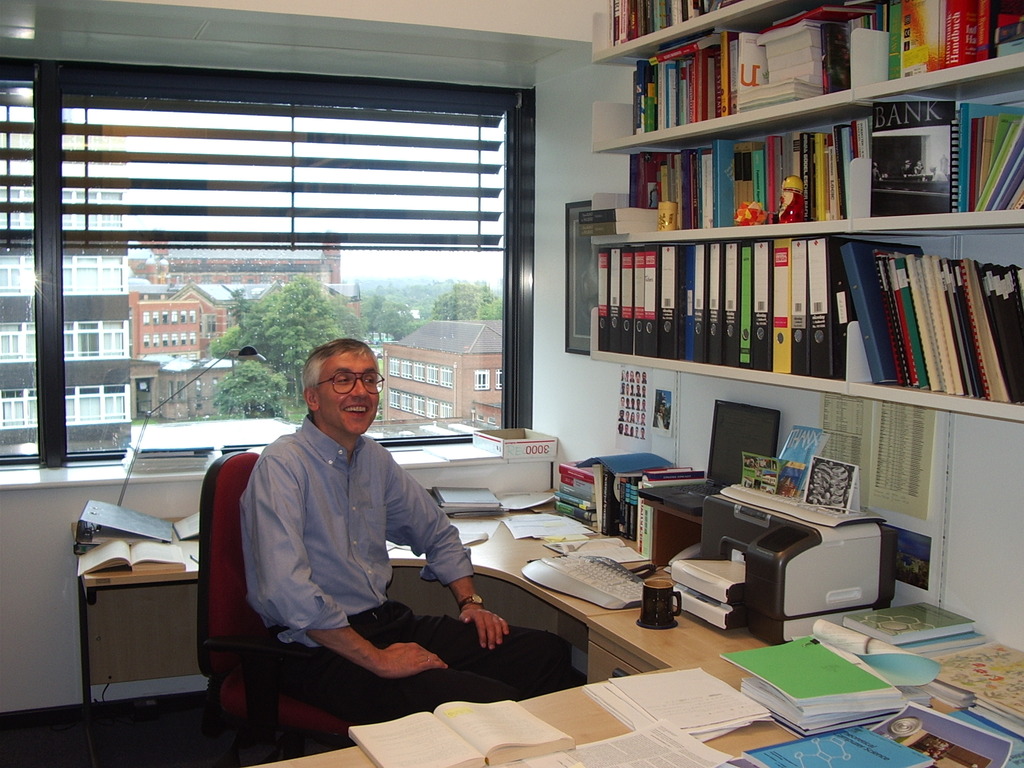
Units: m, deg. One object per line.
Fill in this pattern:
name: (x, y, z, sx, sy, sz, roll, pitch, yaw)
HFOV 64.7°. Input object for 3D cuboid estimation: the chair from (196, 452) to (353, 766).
chair: (-0.778, 0.694, 2.479, 0.347, 0.905, 0.521, -6, 7, -33)

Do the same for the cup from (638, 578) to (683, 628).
cup: (0.449, 0.666, 2.441, 0.130, 0.125, 0.086, 3, -1, 7)

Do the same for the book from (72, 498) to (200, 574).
book: (-1.519, 0.605, 3.163, 0.369, 0.132, 0.360, -2, 17, -33)

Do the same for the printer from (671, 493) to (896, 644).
printer: (0.828, 0.545, 2.541, 0.442, 0.365, 0.595, 2, 2, -14)

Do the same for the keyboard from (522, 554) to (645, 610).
keyboard: (0.250, 0.657, 2.707, 0.211, 0.048, 0.266, -1, 5, -28)

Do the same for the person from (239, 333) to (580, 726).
person: (-0.335, 0.593, 2.707, 1.080, 1.440, 0.809, -4, 0, 9)

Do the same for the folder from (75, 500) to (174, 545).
folder: (-1.563, 0.562, 3.247, 0.251, 0.074, 0.250, 8, 6, -26)
